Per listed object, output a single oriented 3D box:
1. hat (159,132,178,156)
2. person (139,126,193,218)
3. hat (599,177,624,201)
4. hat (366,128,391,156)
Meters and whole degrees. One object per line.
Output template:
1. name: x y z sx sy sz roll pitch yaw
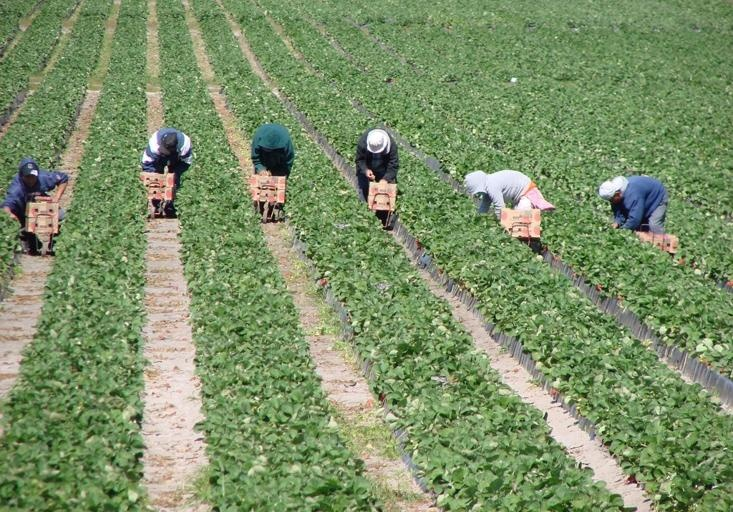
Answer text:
1. hat: -4.869 -2.692 15.920 0.493 0.490 0.662 -4 10 -14
2. person: -4.968 -2.050 16.368 1.027 2.122 1.362 4 37 -8
3. hat: 5.476 -1.577 14.979 0.543 0.242 0.441 -29 36 -4
4. hat: 0.265 -2.745 16.246 0.624 0.603 0.480 7 36 -5
